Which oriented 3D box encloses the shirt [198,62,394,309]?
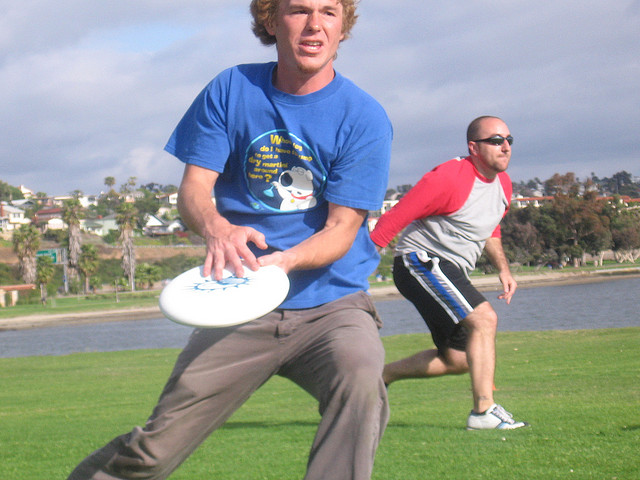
[{"bbox_3d":[-0.222,-0.420,7.319,2.004,1.884,1.098,4,8,5],"label":"shirt"}]

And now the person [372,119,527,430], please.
[{"bbox_3d":[1.410,0.289,9.597,1.404,3.149,0.889,-5,-1,11],"label":"person"}]
